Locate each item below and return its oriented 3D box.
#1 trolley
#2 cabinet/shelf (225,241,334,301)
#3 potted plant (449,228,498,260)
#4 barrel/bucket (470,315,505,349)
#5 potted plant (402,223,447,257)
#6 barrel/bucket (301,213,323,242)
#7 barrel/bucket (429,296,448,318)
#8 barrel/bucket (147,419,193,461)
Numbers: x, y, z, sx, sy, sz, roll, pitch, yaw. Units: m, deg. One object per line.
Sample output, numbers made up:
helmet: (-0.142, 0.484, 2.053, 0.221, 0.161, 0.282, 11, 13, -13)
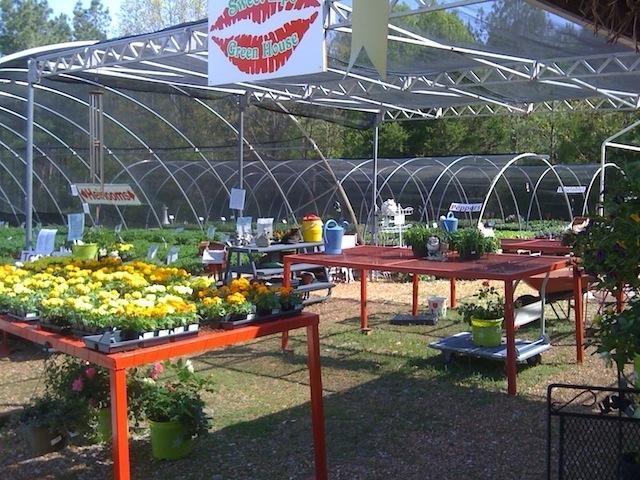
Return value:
trolley: (1.915, 0.907, 7.178, 1.100, 0.760, 0.991, -1, 3, 30)
cabinet/shelf: (-0.644, 0.507, 10.506, 1.157, 0.886, 1.334, 1, 3, 33)
potted plant: (1.733, 0.062, 7.328, 0.383, 0.260, 0.394, 0, 2, 39)
barrel/bucket: (1.864, 1.011, 7.050, 0.297, 0.240, 0.310, -1, -2, 0)
potted plant: (1.305, -0.002, 7.643, 0.370, 0.278, 0.381, 6, 8, 33)
barrel/bucket: (-0.101, -0.157, 9.170, 0.278, 0.389, 0.303, 0, 8, 0)
barrel/bucket: (1.769, 0.975, 9.453, 0.302, 0.289, 0.270, 3, 8, 23)
barrel/bucket: (-1.213, 1.611, 5.123, 0.299, 0.277, 0.325, -1, -2, 0)
